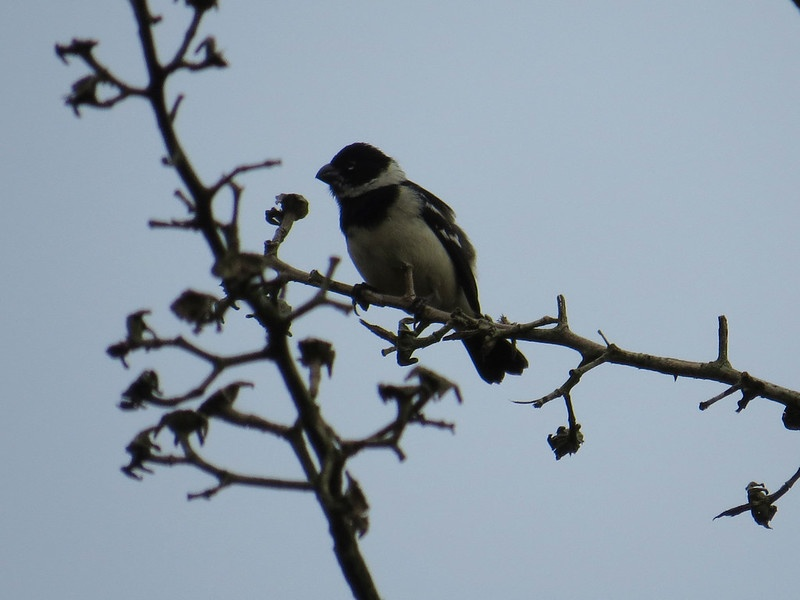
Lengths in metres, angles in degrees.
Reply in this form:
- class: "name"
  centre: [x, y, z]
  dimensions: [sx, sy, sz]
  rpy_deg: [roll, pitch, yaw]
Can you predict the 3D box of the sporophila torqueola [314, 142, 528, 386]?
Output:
- class: "sporophila torqueola"
  centre: [0.110, -0.191, 9.305]
  dimensions: [1.333, 0.941, 0.523]
  rpy_deg: [30, -45, -28]
